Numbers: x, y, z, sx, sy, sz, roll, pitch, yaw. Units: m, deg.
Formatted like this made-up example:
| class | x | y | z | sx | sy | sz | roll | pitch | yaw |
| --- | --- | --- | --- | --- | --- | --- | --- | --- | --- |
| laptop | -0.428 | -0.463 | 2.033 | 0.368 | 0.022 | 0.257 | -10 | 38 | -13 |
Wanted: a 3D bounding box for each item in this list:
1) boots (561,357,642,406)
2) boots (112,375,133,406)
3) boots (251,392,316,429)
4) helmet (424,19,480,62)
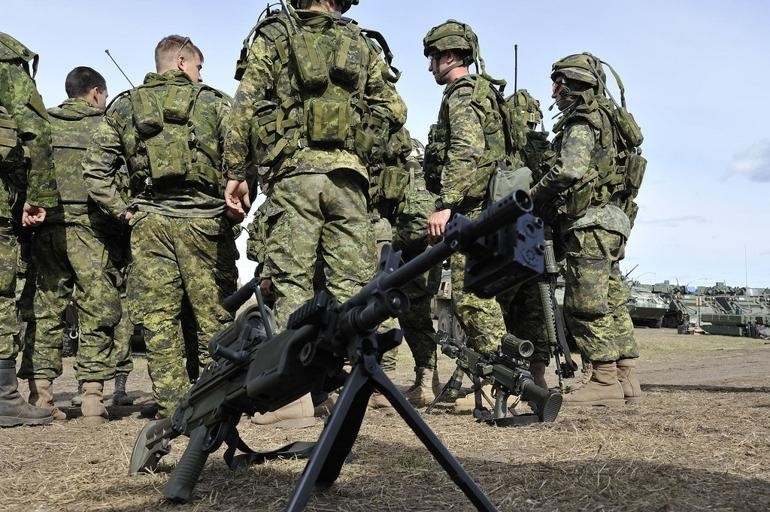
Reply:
| class | x | y | z | sx | sy | sz | roll | pitch | yaw |
| --- | --- | --- | --- | --- | --- | --- | --- | --- | --- |
| boots | 2.383 | 1.483 | 7.813 | 1.150 | 0.724 | 0.407 | 1 | -3 | 5 |
| boots | -3.333 | 1.683 | 8.315 | 0.175 | 0.380 | 0.402 | 0 | 13 | -34 |
| boots | -1.026 | 1.403 | 6.291 | 0.640 | 0.447 | 0.252 | -5 | 1 | 21 |
| helmet | 0.721 | -2.371 | 7.333 | 0.568 | 0.473 | 0.522 | -2 | 13 | 9 |
